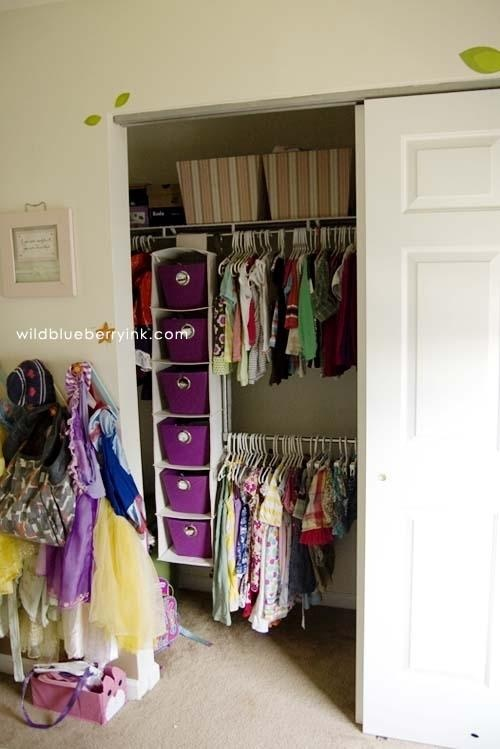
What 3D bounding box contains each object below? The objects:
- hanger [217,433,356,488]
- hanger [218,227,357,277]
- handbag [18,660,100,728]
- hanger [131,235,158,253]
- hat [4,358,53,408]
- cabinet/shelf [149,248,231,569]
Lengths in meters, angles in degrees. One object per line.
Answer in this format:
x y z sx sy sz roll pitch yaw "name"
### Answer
0.141 0.364 2.666 0.408 0.223 0.293 3 5 -11 "hanger"
0.139 -0.577 2.614 0.647 0.194 0.524 -3 11 10 "hanger"
-0.684 1.110 2.090 0.223 0.178 0.185 -6 4 -29 "handbag"
-0.525 -0.635 2.830 0.110 0.085 0.185 -7 11 -12 "hanger"
-0.782 0.036 2.067 0.165 0.160 0.110 -9 11 -21 "hat"
-0.299 0.144 2.708 0.372 1.432 0.371 -4 10 4 "cabinet/shelf"
